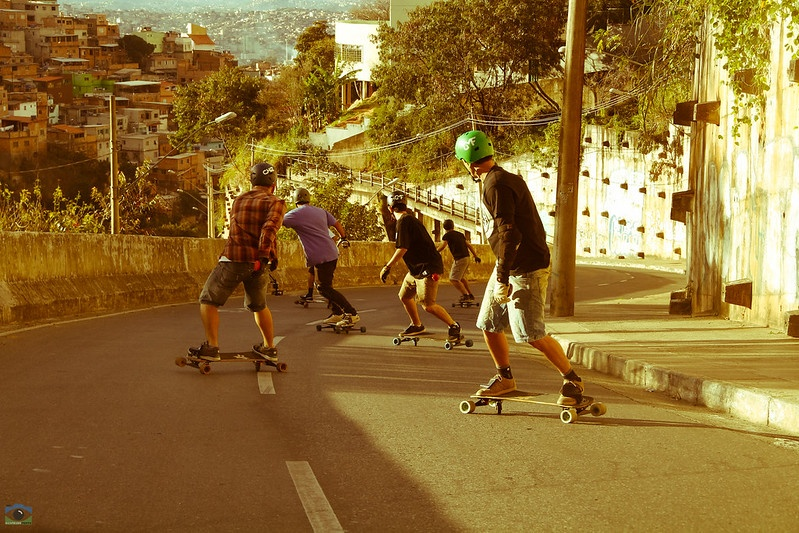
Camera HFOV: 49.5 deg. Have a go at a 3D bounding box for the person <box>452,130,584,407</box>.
[{"bbox_3d":[1.358,0.040,10.103,0.993,3.331,1.316,-8,7,-27],"label":"person"}]

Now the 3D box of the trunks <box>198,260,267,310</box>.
[{"bbox_3d":[-2.463,0.315,12.857,0.769,0.807,0.360,10,9,-24],"label":"trunks"}]

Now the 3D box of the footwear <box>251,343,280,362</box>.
[{"bbox_3d":[-1.835,1.148,11.789,0.373,0.180,0.161,21,13,8],"label":"footwear"}]

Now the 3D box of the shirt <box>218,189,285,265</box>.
[{"bbox_3d":[-1.974,-0.544,11.690,0.835,1.003,0.573,0,4,2],"label":"shirt"}]

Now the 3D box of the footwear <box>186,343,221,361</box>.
[{"bbox_3d":[-2.608,1.152,11.581,0.421,0.210,0.208,7,3,17],"label":"footwear"}]

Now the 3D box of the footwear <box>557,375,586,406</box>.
[{"bbox_3d":[1.976,1.448,10.004,0.188,0.236,0.453,3,18,19],"label":"footwear"}]

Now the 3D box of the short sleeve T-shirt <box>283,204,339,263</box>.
[{"bbox_3d":[-1.536,-0.535,15.193,0.853,1.076,0.581,-1,4,-7],"label":"short sleeve T-shirt"}]

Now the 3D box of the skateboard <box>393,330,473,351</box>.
[{"bbox_3d":[0.538,1.219,14.225,0.879,0.232,0.518,-1,0,16],"label":"skateboard"}]

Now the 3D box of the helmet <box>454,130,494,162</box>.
[{"bbox_3d":[0.850,-1.368,10.090,0.297,0.353,0.427,-14,18,-5],"label":"helmet"}]

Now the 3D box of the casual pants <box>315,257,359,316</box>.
[{"bbox_3d":[-1.178,0.353,15.502,0.535,1.362,0.439,-9,-17,-11],"label":"casual pants"}]

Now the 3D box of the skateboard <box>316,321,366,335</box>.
[{"bbox_3d":[-1.042,1.087,15.480,0.890,0.208,0.606,-1,4,-7],"label":"skateboard"}]

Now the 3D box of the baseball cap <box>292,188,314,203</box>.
[{"bbox_3d":[-1.722,-1.215,15.322,0.223,0.302,0.313,-1,19,-13],"label":"baseball cap"}]

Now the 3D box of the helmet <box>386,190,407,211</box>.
[{"bbox_3d":[-0.038,-1.013,13.494,0.228,0.325,0.301,-3,16,-15],"label":"helmet"}]

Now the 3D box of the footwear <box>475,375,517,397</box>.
[{"bbox_3d":[1.149,1.415,10.364,0.528,0.241,0.207,0,5,-16],"label":"footwear"}]

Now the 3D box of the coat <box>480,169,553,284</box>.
[{"bbox_3d":[1.312,-0.480,9.907,0.758,1.314,0.458,-4,5,-42],"label":"coat"}]

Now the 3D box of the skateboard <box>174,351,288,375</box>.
[{"bbox_3d":[-2.258,1.275,11.661,1.362,0.223,0.545,0,11,-25],"label":"skateboard"}]
